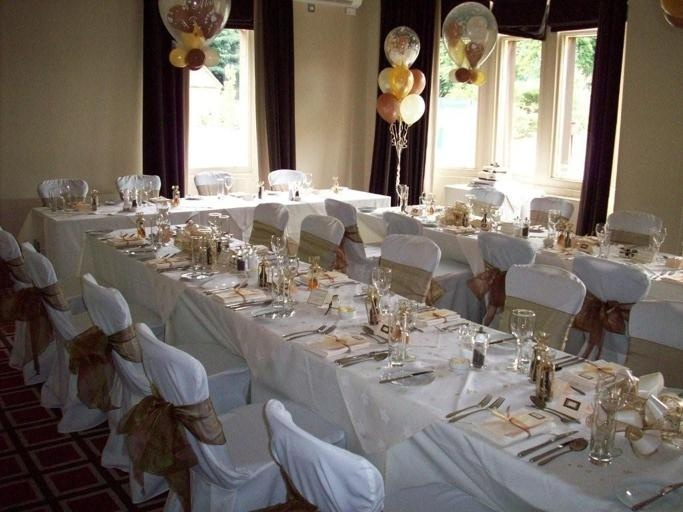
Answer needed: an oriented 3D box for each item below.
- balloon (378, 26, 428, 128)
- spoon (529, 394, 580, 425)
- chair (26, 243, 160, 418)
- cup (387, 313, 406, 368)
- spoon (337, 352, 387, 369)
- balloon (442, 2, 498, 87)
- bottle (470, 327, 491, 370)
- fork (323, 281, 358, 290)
[{"bbox_3d":[0.917,-2.717,7.327,0.686,1.397,1.510,2,12,8],"label":"balloon"},{"bbox_3d":[0.870,0.611,1.921,0.097,0.025,0.097,-15,20,-36],"label":"spoon"},{"bbox_3d":[-1.679,0.539,3.224,0.589,0.933,0.732,-18,45,-41],"label":"chair"},{"bbox_3d":[0.272,0.363,2.240,0.075,0.220,0.062,-10,19,5],"label":"cup"},{"bbox_3d":[0.094,0.503,2.313,0.311,0.017,0.083,-5,19,-35],"label":"spoon"},{"bbox_3d":[1.572,-2.641,5.926,0.617,0.955,0.389,3,12,13],"label":"balloon"},{"bbox_3d":[0.661,0.451,2.303,0.072,0.182,0.082,-6,20,-17],"label":"bottle"},{"bbox_3d":[0.005,0.207,3.325,0.252,0.023,0.077,-9,21,-35],"label":"fork"}]
